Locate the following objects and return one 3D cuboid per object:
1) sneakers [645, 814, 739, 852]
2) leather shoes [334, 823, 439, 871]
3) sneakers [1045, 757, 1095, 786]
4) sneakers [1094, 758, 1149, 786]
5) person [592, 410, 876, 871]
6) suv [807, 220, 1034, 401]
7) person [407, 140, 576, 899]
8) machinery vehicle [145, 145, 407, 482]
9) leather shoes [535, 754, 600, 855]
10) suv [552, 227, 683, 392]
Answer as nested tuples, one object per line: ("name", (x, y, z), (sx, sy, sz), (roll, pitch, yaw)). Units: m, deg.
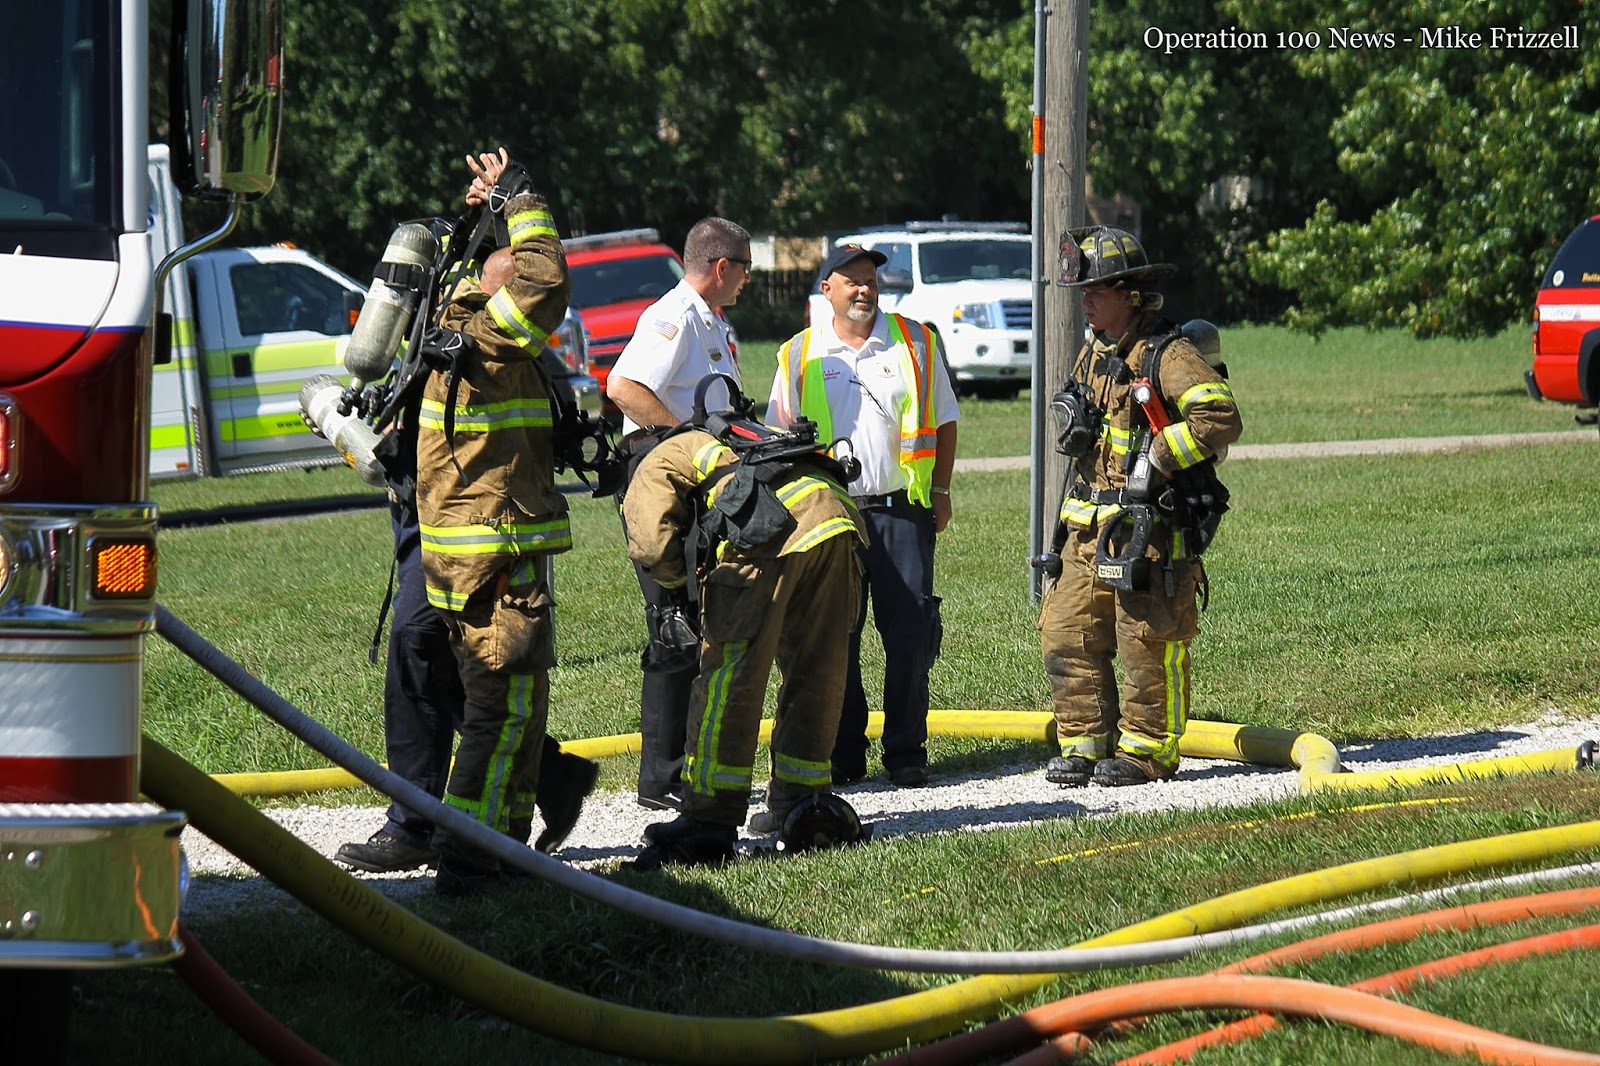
("sneakers", (-0.461, 1.257, 9.571), (0.385, 0.187, 0.150), (12, -6, -7))
("leather shoes", (-1.732, 1.318, 9.612), (0.463, 0.250, 0.195), (4, 0, 0))
("sneakers", (1.264, 1.120, 10.620), (0.114, 0.110, 0.186), (2, -9, -14))
("sneakers", (1.484, 1.100, 10.489), (0.189, 0.099, 0.122), (3, -3, -16))
("person", (-0.224, 0.451, 9.493), (0.979, 1.831, 0.430), (0, 5, 0))
("suv", (1.798, -2.647, 25.497), (1.496, 1.459, 2.597), (-3, 4, -28))
("person", (-1.230, -0.036, 9.153), (0.616, 2.980, 0.520), (-1, 6, -11))
("machinery vehicle", (-4.424, -1.736, 17.961), (3.118, 1.952, 2.133), (-5, 5, -29))
("leather shoes", (-0.983, 1.117, 9.525), (0.183, 0.526, 0.169), (5, 19, -14))
("suv", (-1.849, -2.411, 24.698), (1.290, 1.664, 2.983), (-9, 5, 5))
